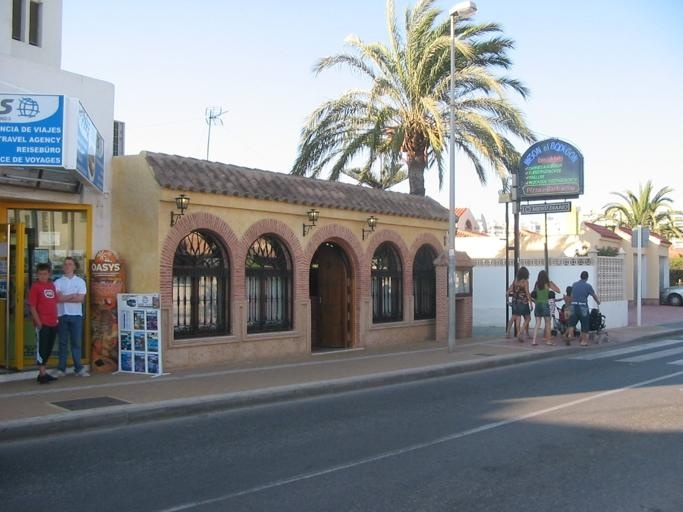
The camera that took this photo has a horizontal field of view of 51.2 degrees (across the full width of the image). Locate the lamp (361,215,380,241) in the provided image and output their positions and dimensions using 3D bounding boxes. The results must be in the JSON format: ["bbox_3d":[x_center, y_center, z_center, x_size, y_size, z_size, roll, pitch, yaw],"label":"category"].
[{"bbox_3d":[0.836,-0.765,19.351,0.317,0.689,0.600,4,5,39],"label":"lamp"}]

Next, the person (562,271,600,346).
[{"bbox_3d":[6.722,1.450,19.926,1.030,2.076,0.709,0,3,-29],"label":"person"}]

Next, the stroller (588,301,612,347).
[{"bbox_3d":[7.486,1.986,20.912,0.553,1.003,0.558,-4,12,-29],"label":"stroller"}]

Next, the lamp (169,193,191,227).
[{"bbox_3d":[-3.411,-0.976,15.167,0.427,0.698,0.385,-2,5,-30],"label":"lamp"}]

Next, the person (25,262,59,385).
[{"bbox_3d":[-5.678,1.275,13.562,0.433,2.178,0.617,1,4,7],"label":"person"}]

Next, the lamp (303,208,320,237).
[{"bbox_3d":[-0.660,-0.829,17.809,0.399,0.688,0.579,4,6,43],"label":"lamp"}]

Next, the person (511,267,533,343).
[{"bbox_3d":[5.176,1.280,20.515,0.612,2.186,0.666,7,18,27],"label":"person"}]

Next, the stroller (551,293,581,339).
[{"bbox_3d":[6.775,1.726,21.665,0.802,1.096,1.550,1,-5,13],"label":"stroller"}]

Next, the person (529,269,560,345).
[{"bbox_3d":[5.658,1.424,19.889,0.684,2.135,1.204,1,4,16],"label":"person"}]

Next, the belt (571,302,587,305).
[{"bbox_3d":[6.587,1.292,19.673,0.408,0.137,0.145,1,4,10],"label":"belt"}]
